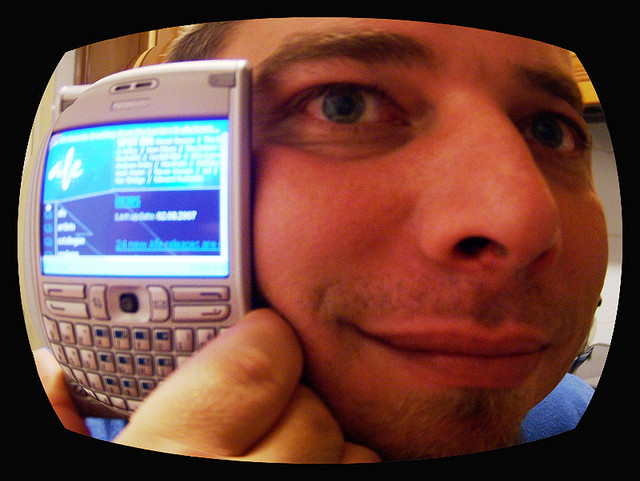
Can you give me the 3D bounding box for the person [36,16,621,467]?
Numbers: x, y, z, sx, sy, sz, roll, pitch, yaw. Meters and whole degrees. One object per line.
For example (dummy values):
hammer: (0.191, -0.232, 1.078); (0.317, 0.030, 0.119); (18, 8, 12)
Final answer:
person: (0.137, 0.055, 1.749); (1.107, 0.854, 1.420); (2, -8, -22)
